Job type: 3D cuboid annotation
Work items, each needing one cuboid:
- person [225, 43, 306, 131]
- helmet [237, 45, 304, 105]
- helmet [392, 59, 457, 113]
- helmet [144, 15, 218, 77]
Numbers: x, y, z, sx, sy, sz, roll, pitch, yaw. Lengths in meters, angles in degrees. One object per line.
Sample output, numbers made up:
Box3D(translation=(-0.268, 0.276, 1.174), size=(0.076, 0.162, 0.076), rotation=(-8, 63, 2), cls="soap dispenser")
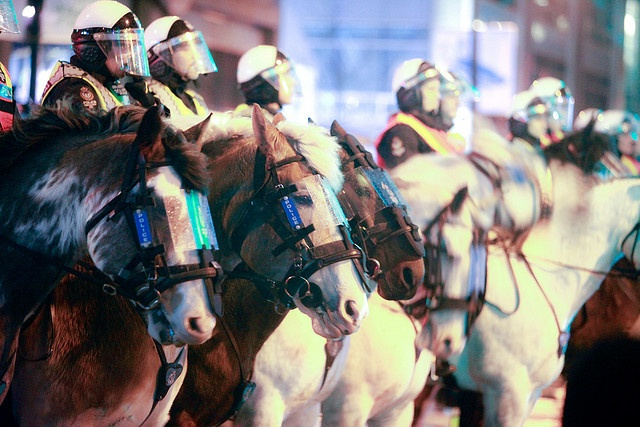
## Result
Box3D(translation=(-0.416, -1.154, 8.424), size=(0.712, 0.733, 0.585), rotation=(-2, 10, 3), cls="person")
Box3D(translation=(-0.434, -1.166, 8.142), size=(0.521, 0.503, 0.437), rotation=(-5, 5, -5), cls="helmet")
Box3D(translation=(0.945, -1.101, 8.325), size=(0.473, 0.448, 0.424), rotation=(-12, 2, 24), cls="helmet")
Box3D(translation=(-1.180, -1.389, 8.111), size=(0.563, 0.473, 0.433), rotation=(-3, 2, 14), cls="helmet")
